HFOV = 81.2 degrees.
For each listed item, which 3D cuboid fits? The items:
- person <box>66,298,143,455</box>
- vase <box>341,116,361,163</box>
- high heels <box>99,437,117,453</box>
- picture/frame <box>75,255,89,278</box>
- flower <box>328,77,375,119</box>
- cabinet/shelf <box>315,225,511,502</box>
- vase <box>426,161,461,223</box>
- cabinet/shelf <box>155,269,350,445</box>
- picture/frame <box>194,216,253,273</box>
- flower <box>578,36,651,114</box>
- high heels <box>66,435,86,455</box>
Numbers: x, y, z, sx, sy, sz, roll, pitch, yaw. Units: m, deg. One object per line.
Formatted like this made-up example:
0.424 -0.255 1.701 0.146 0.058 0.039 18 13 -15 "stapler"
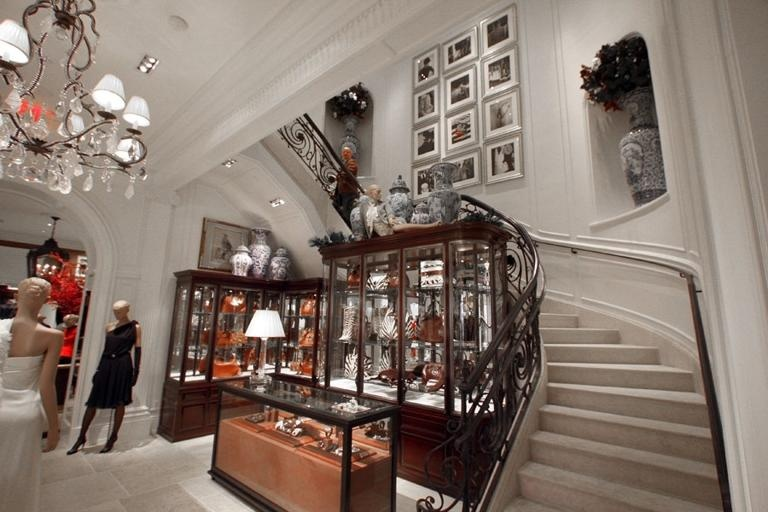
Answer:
-3.905 1.716 6.513 0.802 2.105 0.520 -1 -9 1 "person"
-0.757 -2.609 10.086 0.399 1.043 0.573 -1 -9 -1 "vase"
-3.919 2.671 6.406 0.181 0.191 0.239 4 -10 -32 "high heels"
-6.934 0.257 10.282 0.218 0.615 0.417 8 -12 -44 "picture/frame"
-0.774 -3.418 10.081 1.006 0.667 0.588 -1 -9 1 "flower"
0.412 1.256 5.163 2.639 2.931 1.076 -7 -13 42 "cabinet/shelf"
0.782 -0.743 5.843 0.381 0.868 0.387 0 -10 12 "vase"
-2.006 1.455 6.470 2.225 2.220 0.858 8 -14 -39 "cabinet/shelf"
-2.799 -0.170 7.731 0.061 0.886 0.873 -13 -17 40 "picture/frame"
3.431 -2.649 6.865 1.063 0.979 0.779 -29 -19 -50 "flower"
-4.278 2.630 6.304 0.174 0.224 0.281 -6 -10 30 "high heels"
